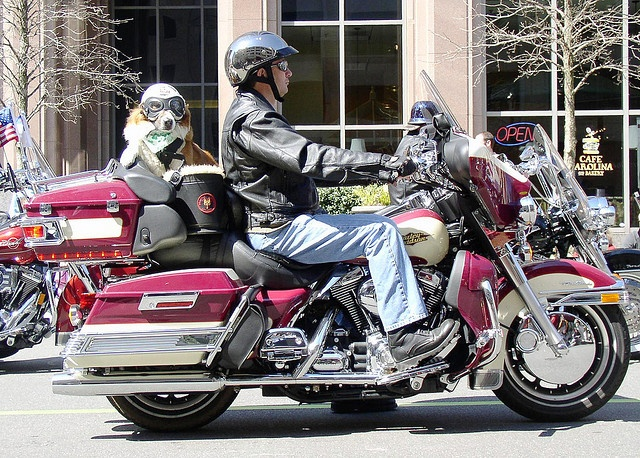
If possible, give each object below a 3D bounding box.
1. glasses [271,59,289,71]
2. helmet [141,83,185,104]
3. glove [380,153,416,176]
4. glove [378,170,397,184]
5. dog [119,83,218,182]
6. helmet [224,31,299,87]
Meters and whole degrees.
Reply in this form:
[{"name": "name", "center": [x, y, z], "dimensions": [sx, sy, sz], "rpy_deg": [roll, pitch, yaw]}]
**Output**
[{"name": "glasses", "center": [-0.330, -1.380, 6.276], "dimensions": [0.125, 0.050, 0.093], "rpy_deg": [-1, 3, 7]}, {"name": "helmet", "center": [-1.772, -1.530, 8.354], "dimensions": [0.268, 0.285, 0.339], "rpy_deg": [2, 12, -4]}, {"name": "glove", "center": [0.590, -0.476, 5.544], "dimensions": [0.173, 0.085, 0.176], "rpy_deg": [6, 5, 43]}, {"name": "glove", "center": [0.506, -0.394, 5.568], "dimensions": [0.113, 0.097, 0.087], "rpy_deg": [6, 13, -8]}, {"name": "dog", "center": [-1.750, -1.043, 8.618], "dimensions": [0.998, 0.731, 1.450], "rpy_deg": [10, -13, -3]}, {"name": "helmet", "center": [-0.502, -1.416, 6.346], "dimensions": [0.532, 0.374, 0.418], "rpy_deg": [6, 1, -2]}]
